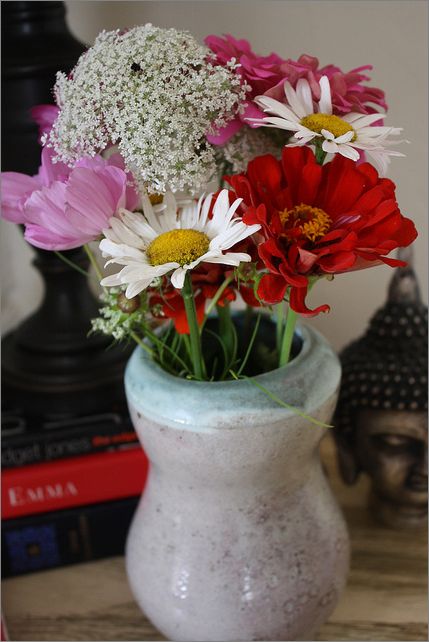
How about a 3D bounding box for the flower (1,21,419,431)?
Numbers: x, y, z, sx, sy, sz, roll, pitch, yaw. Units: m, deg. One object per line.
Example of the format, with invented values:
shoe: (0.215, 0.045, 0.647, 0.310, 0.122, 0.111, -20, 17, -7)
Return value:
flower: (-0.001, -0.086, 0.488, 0.286, 0.275, 0.274, 20, 52, 23)
